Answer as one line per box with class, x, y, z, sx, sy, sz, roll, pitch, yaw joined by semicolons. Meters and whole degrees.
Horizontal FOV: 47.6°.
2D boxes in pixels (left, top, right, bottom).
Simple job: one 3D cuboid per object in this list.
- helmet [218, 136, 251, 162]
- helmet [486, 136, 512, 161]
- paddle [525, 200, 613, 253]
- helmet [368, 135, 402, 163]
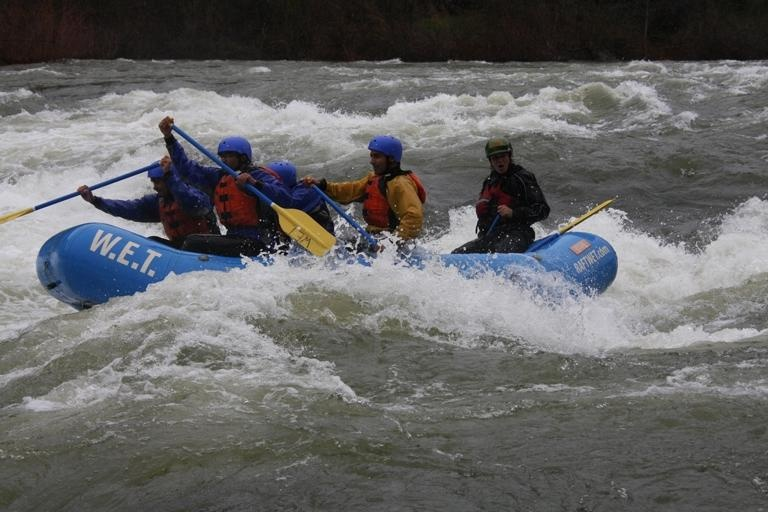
helmet;-1.640;-1.173;9.598;0.343;0.217;0.271;-13;18;-30
helmet;1.329;-1.250;10.196;0.253;0.149;0.329;-13;-7;10
paddle;2.293;-0.338;10.828;1.818;0.088;0.248;-25;-6;-42
helmet;0.039;-1.208;9.786;0.397;0.245;0.258;-2;19;-10
